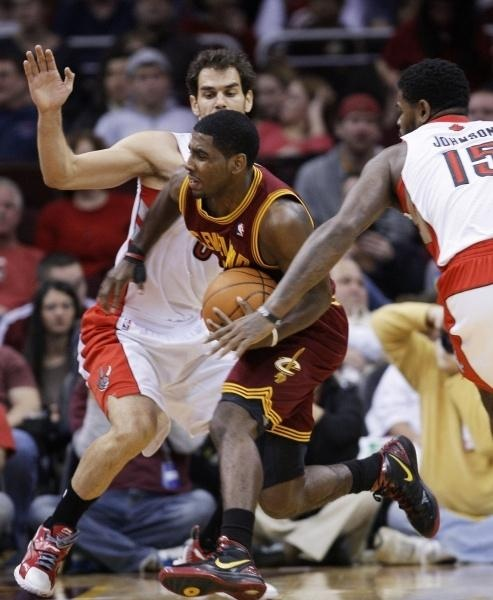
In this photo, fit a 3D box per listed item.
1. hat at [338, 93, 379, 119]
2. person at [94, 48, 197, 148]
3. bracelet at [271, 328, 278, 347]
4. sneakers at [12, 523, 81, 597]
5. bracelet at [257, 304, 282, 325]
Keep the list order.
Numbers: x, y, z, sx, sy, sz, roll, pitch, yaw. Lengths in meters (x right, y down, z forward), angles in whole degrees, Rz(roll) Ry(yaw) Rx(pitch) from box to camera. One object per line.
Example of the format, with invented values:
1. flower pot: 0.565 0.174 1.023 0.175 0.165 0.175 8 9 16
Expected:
1. hat: 1.184 -2.016 7.848 0.615 0.140 0.552 2 25 5
2. person: -1.102 -2.342 8.793 1.605 1.084 0.698 -2 10 -7
3. bracelet: 0.101 0.137 2.627 0.025 0.046 0.051 6 55 6
4. sneakers: -0.744 0.977 2.895 0.141 0.169 0.391 37 3 -10
5. bracelet: 0.094 0.059 2.471 0.019 0.073 0.073 -56 29 -9
